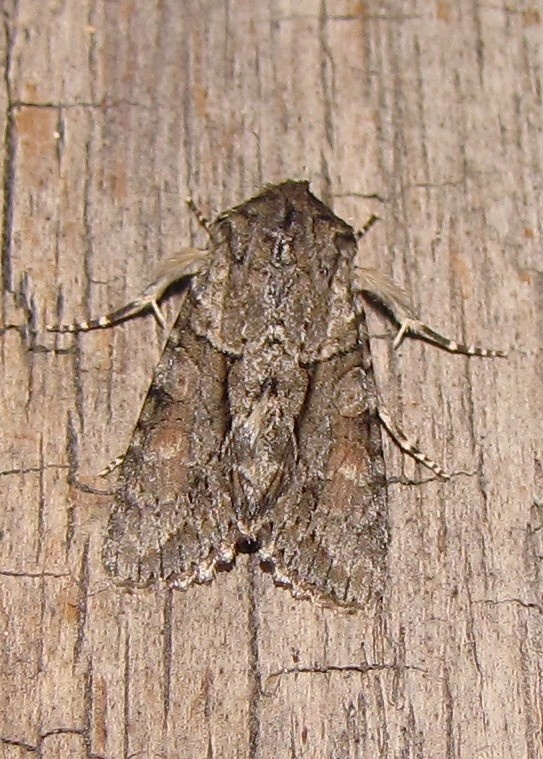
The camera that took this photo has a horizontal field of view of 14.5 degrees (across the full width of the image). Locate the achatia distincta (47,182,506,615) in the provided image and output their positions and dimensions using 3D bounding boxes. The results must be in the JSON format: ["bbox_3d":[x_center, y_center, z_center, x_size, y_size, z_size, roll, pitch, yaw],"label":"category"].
[{"bbox_3d":[-0.079,0.061,3.343,0.504,0.052,0.707,-9,85,-3],"label":"achatia distincta"}]
